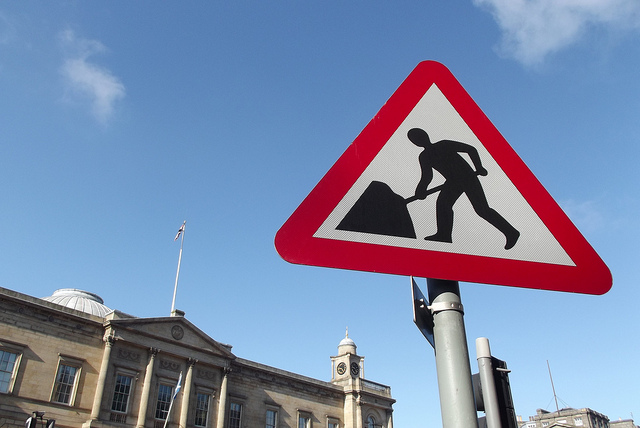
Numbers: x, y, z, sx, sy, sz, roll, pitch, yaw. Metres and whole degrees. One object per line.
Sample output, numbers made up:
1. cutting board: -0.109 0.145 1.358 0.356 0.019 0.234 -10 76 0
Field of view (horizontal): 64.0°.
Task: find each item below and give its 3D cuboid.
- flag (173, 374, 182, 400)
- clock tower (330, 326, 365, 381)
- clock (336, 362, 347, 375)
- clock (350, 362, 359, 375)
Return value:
1. flag: -9.414 11.491 33.861 0.389 1.797 1.985 8 -30 -13
2. clock tower: 2.708 14.422 51.827 3.847 5.583 4.252 0 -24 0
3. clock: 2.143 15.259 50.315 1.060 1.222 0.161 -20 -34 34
4. clock: 3.424 15.377 50.593 0.163 1.285 1.542 -16 -33 29
